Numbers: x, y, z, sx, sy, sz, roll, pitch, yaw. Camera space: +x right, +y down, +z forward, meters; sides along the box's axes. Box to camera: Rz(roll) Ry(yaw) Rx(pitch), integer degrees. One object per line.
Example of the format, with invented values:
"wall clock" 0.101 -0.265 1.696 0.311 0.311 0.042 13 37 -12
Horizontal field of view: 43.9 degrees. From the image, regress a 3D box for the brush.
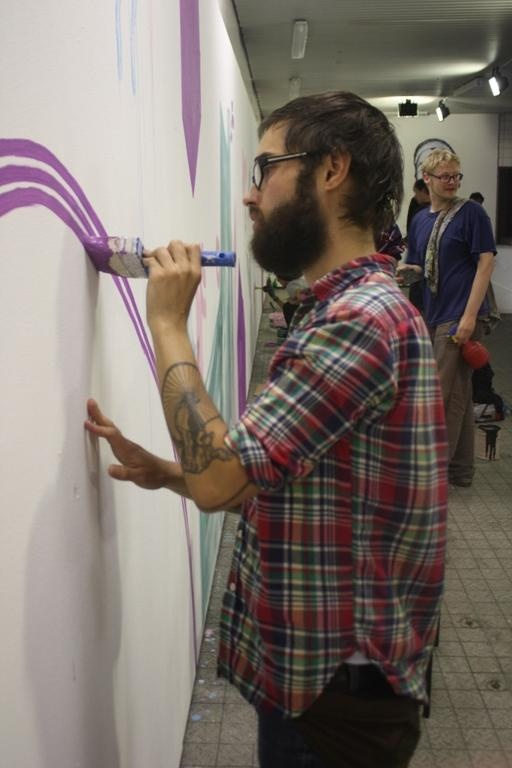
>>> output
"brush" -0.127 -0.180 0.925 0.187 0.067 0.245 1 13 -4
